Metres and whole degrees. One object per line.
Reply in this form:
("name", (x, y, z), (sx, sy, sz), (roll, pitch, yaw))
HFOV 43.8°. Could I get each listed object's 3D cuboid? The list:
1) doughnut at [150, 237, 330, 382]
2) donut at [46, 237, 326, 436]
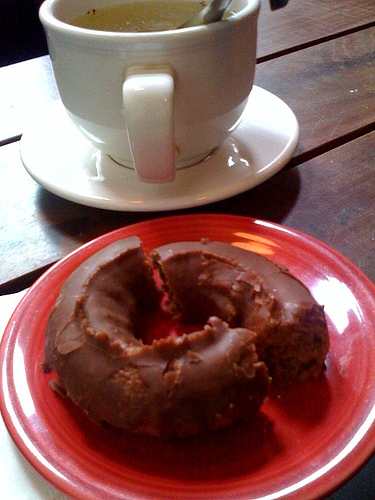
("doughnut", (0.060, 0.050, 0.488), (0.203, 0.071, 0.112), (23, 35, 36))
("donut", (0.003, 0.085, 0.479), (0.283, 0.072, 0.272), (-11, 21, -4))
